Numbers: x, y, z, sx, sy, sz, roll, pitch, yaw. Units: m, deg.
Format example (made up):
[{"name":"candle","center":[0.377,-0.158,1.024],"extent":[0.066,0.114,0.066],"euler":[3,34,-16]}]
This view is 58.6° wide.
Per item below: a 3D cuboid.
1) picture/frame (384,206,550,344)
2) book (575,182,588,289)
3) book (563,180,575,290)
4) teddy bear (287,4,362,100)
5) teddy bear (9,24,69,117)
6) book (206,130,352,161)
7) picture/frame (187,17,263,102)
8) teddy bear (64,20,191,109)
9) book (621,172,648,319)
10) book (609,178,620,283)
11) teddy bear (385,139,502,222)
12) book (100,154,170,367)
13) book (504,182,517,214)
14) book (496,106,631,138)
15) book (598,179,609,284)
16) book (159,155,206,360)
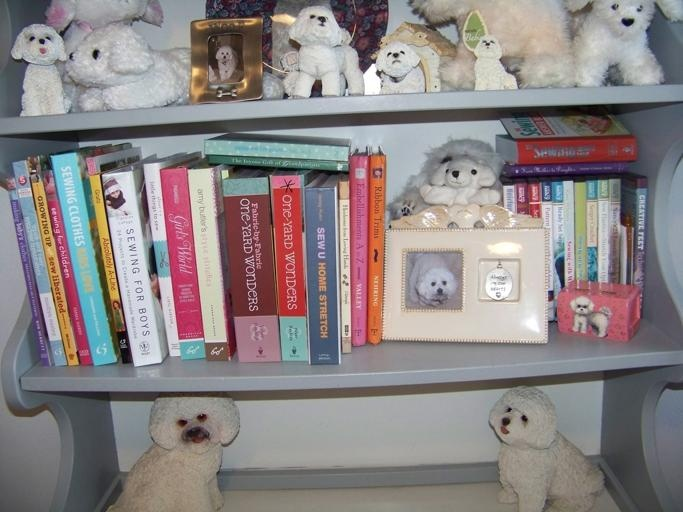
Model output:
[{"name":"picture/frame","center":[0.277,0.049,1.326],"extent":[0.308,0.256,0.034],"euler":[0,2,3]},{"name":"book","center":[0.531,-0.057,1.352],"extent":[0.031,0.216,0.019],"euler":[-4,10,6]},{"name":"book","center":[0.506,-0.052,1.353],"extent":[0.030,0.228,0.018],"euler":[-4,10,4]},{"name":"teddy bear","center":[-0.031,-0.424,1.277],"extent":[0.154,0.178,0.071],"euler":[-7,10,-10]},{"name":"teddy bear","center":[-0.632,-0.387,1.277],"extent":[0.102,0.181,0.084],"euler":[-10,11,-26]},{"name":"book","center":[-0.134,-0.239,1.344],"extent":[0.300,0.081,0.183],"euler":[-4,10,3]},{"name":"picture/frame","center":[-0.239,-0.398,1.249],"extent":[0.189,0.192,0.017],"euler":[-3,-12,4]},{"name":"teddy bear","center":[-0.439,-0.374,1.321],"extent":[0.254,0.177,0.144],"euler":[-17,-15,-17]},{"name":"book","center":[0.651,-0.032,1.352],"extent":[0.052,0.292,0.028],"euler":[0,11,24]},{"name":"book","center":[0.610,-0.056,1.358],"extent":[0.027,0.232,0.026],"euler":[-2,11,17]},{"name":"teddy bear","center":[0.253,-0.176,1.397],"extent":[0.184,0.226,0.105],"euler":[5,-25,12]},{"name":"book","center":[-0.429,0.007,1.252],"extent":[0.055,0.447,0.358],"euler":[-9,14,-9]},{"name":"book","center":[0.372,-0.126,1.346],"extent":[0.038,0.066,0.069],"euler":[0,4,4]},{"name":"book","center":[0.499,-0.300,1.380],"extent":[0.255,0.064,0.096],"euler":[-5,10,-3]},{"name":"book","center":[0.581,-0.056,1.352],"extent":[0.030,0.225,0.023],"euler":[-4,10,7]},{"name":"book","center":[-0.321,0.006,1.324],"extent":[0.056,0.387,0.409],"euler":[-6,0,-22]}]
